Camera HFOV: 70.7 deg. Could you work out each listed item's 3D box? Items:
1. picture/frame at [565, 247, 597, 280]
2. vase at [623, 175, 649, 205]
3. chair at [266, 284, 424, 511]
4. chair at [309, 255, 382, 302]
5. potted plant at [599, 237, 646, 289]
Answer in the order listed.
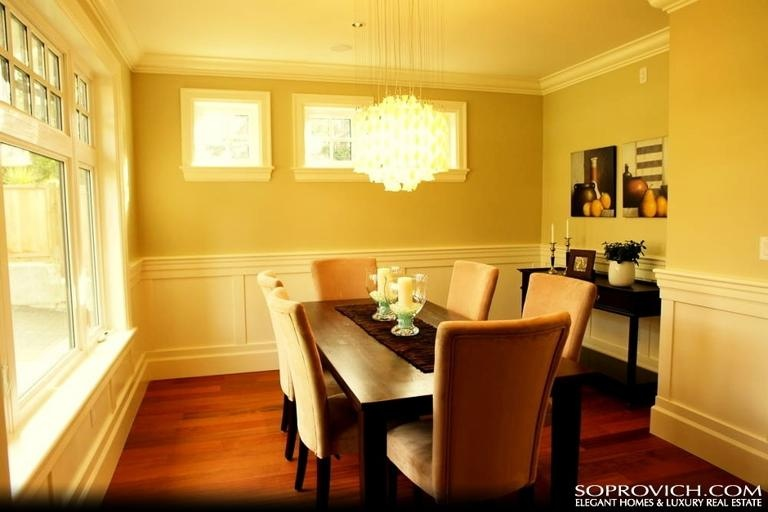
[{"bbox_3d":[1.765,0.074,4.828,0.121,0.265,0.279,-2,5,-24],"label":"picture/frame"},{"bbox_3d":[2.233,-0.572,4.823,0.214,0.251,0.214,0,10,3],"label":"vase"},{"bbox_3d":[-0.254,0.690,3.833,1.201,1.875,0.971,-4,8,-23],"label":"chair"},{"bbox_3d":[-0.336,0.185,4.626,0.387,0.508,0.422,0,-3,-19],"label":"chair"},{"bbox_3d":[2.071,0.063,4.739,0.364,0.459,0.465,1,2,37],"label":"potted plant"}]
